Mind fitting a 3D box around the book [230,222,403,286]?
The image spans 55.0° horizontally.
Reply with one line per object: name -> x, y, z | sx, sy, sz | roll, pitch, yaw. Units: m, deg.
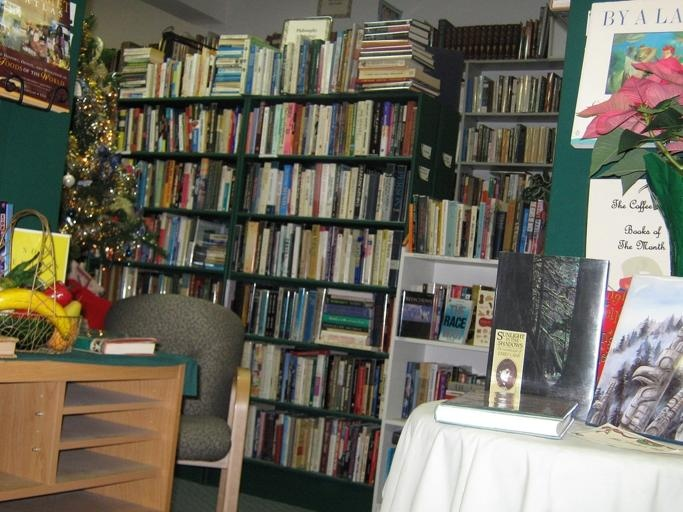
book -> -0.188, -0.031, 4.113 | 1.129, 0.370, 0.182 | 7, 2, 28

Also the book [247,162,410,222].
book -> -0.110, -0.399, 4.096 | 1.086, 0.383, 0.351 | 6, -3, 22

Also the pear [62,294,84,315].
pear -> -0.828, 0.142, 1.983 | 0.041, 0.043, 0.064 | 11, 32, -1

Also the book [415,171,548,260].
book -> 0.917, -0.193, 3.926 | 0.655, 0.409, 0.936 | 3, 2, 27
